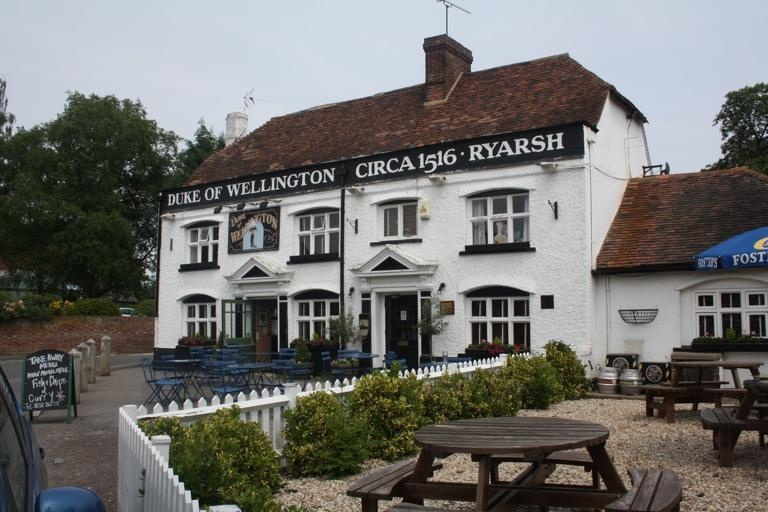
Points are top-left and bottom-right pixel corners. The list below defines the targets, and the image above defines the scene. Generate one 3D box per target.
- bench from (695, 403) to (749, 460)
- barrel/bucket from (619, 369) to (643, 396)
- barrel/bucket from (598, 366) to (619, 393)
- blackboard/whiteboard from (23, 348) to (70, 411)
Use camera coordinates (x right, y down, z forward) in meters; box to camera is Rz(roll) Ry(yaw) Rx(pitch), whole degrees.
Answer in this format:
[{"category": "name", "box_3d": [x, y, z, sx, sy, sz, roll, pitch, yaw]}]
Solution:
[{"category": "bench", "box_3d": [7.166, 3.680, 17.341, 0.834, 0.818, 1.650, -1, -1, 16]}, {"category": "barrel/bucket", "box_3d": [7.177, 3.699, 23.981, 0.740, 0.732, 0.633, -5, -7, 39]}, {"category": "barrel/bucket", "box_3d": [6.756, 3.752, 24.677, 0.685, 0.739, 0.640, 0, -8, 0]}, {"category": "blackboard/whiteboard", "box_3d": [-8.601, 3.188, 20.874, 1.375, 1.873, 1.066, -1, -8, -13]}]
